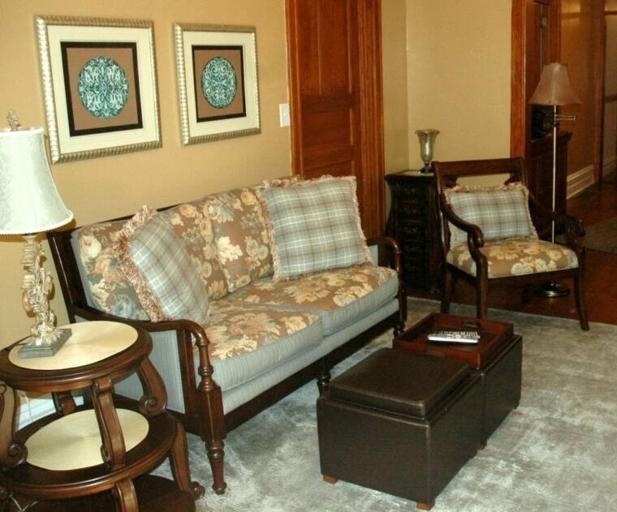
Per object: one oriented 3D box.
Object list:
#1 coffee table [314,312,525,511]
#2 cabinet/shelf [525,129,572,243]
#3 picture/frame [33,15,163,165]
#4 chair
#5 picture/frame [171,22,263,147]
[{"bbox_3d":[0.433,0.336,2.028,0.574,0.440,1.170,5,15,33],"label":"coffee table"},{"bbox_3d":[2.084,-0.623,4.718,0.424,0.937,1.131,5,20,30],"label":"cabinet/shelf"},{"bbox_3d":[-0.977,-0.796,2.563,0.082,0.644,0.666,2,16,36],"label":"picture/frame"},{"bbox_3d":[1.281,-0.107,3.647,0.932,1.118,0.940,-10,14,-9],"label":"chair"},{"bbox_3d":[-0.556,-1.002,3.118,0.063,0.746,0.852,6,15,36],"label":"picture/frame"}]
